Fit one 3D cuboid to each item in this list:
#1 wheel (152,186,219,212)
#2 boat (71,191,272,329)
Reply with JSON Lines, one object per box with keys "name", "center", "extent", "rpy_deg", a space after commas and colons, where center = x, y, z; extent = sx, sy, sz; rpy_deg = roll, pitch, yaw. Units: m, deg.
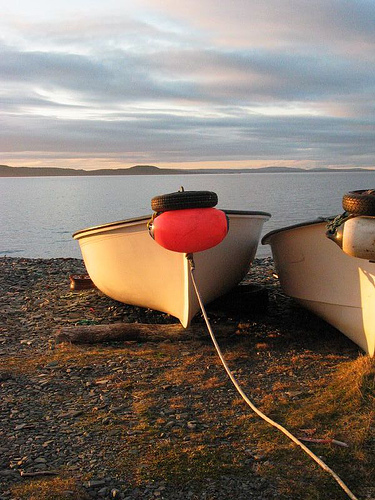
{"name": "wheel", "center": [-0.030, -0.512, 4.401], "extent": [0.679, 0.227, 0.327], "rpy_deg": [-2, 6, -4]}
{"name": "boat", "center": [-0.264, 0.285, 7.074], "extent": [3.263, 1.467, 4.758], "rpy_deg": [-5, -3, -7]}
